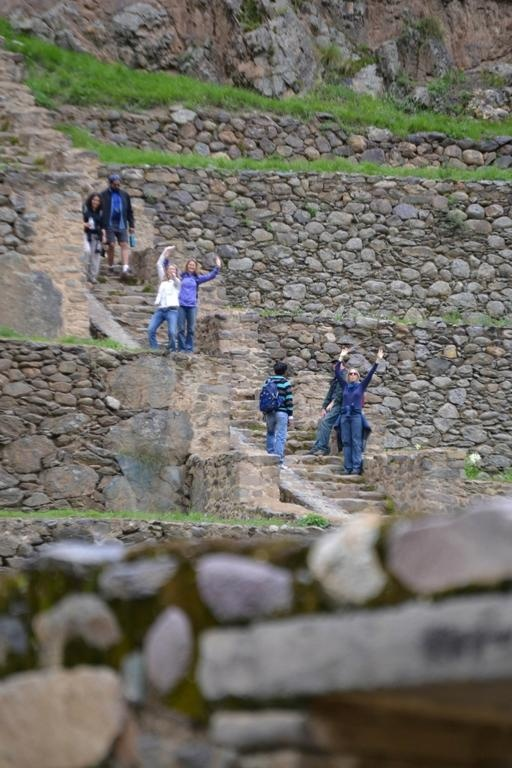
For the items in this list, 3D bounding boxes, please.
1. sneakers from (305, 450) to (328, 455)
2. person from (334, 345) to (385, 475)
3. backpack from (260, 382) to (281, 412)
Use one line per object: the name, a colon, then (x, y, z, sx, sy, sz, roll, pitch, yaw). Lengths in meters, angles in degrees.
sneakers: (0.839, 0.937, 11.181, 0.285, 0.110, 0.096, 6, -3, -18)
person: (1.225, 0.431, 10.190, 0.378, 1.364, 0.622, 1, 5, -13)
backpack: (0.131, 0.147, 9.120, 0.168, 0.402, 0.264, 0, 6, -29)
